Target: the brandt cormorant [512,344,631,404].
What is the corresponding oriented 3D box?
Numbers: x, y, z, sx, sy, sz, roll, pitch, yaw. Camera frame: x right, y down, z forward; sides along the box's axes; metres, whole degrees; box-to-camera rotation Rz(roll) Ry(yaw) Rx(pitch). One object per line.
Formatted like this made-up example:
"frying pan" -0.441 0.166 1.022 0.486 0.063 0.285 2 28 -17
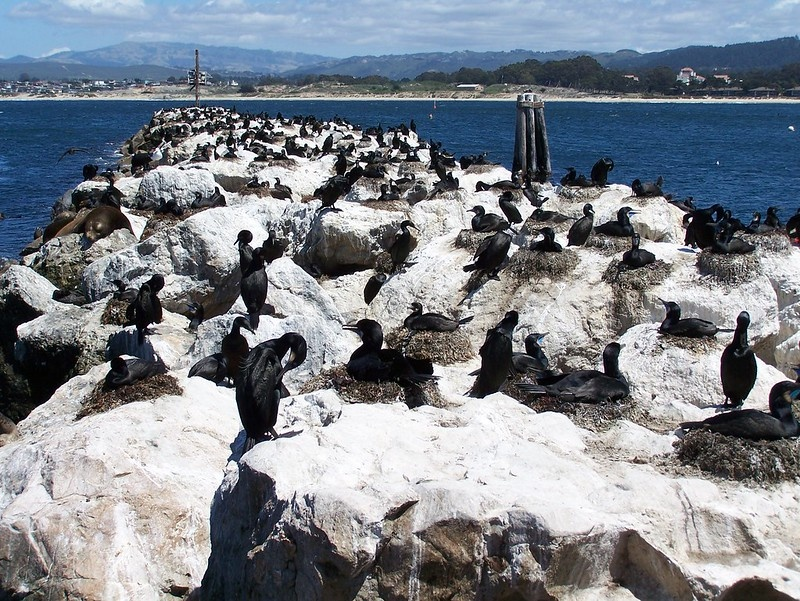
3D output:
"brandt cormorant" 2.428 1.035 11.325 1.682 0.983 0.844 3 -1 -23
